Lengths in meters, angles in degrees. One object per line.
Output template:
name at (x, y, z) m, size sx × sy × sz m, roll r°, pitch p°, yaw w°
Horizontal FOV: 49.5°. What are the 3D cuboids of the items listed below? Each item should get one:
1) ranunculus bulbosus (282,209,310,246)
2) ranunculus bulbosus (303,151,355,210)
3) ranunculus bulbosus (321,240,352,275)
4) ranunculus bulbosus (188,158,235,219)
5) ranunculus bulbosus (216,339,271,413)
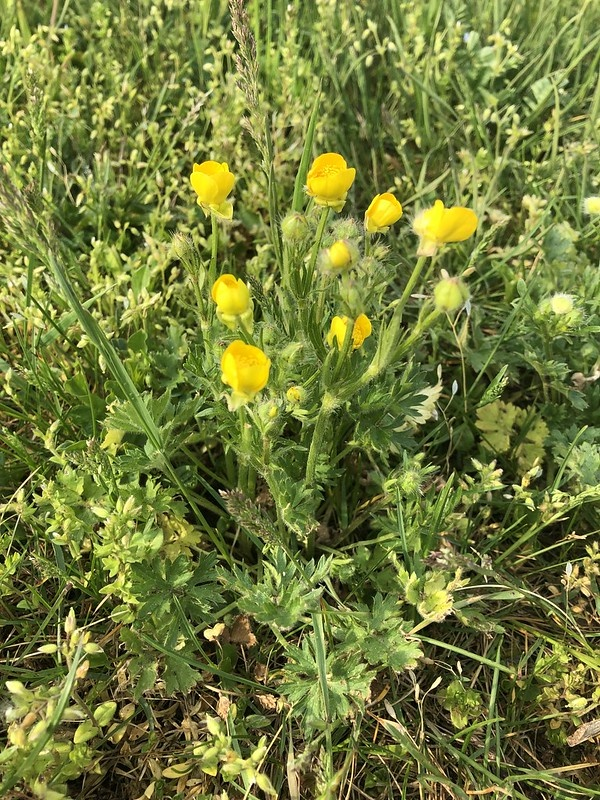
ranunculus bulbosus at (-0.016, -0.448, 1.680) m, size 0.066 × 0.076 × 0.084 m, roll 2°, pitch 44°, yaw -4°
ranunculus bulbosus at (0.074, -0.529, 1.588) m, size 0.105 × 0.114 × 0.127 m, roll 19°, pitch 35°, yaw 12°
ranunculus bulbosus at (0.077, -0.301, 1.385) m, size 0.061 × 0.048 × 0.068 m, roll -15°, pitch 22°, yaw 5°
ranunculus bulbosus at (-0.216, -0.529, 1.617) m, size 0.098 × 0.134 × 0.109 m, roll -22°, pitch 38°, yaw -24°
ranunculus bulbosus at (-0.131, -0.055, 1.411) m, size 0.111 × 0.148 × 0.081 m, roll 29°, pitch 16°, yaw 17°
